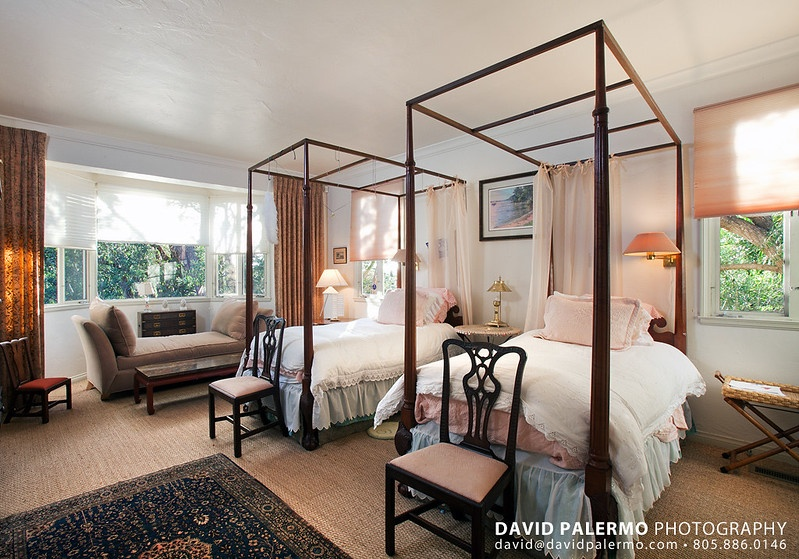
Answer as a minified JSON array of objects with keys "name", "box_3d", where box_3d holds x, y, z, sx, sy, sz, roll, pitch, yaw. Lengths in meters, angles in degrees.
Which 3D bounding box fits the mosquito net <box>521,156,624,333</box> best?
[{"name":"mosquito net","box_3d":[1.911,-0.306,5.613,0.980,1.826,0.501,7,2,42]}]

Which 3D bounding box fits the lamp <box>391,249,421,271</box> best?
[{"name":"lamp","box_3d":[0.098,-0.274,6.891,0.328,0.328,0.335,0,4,3]}]

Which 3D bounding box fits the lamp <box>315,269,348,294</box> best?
[{"name":"lamp","box_3d":[-1.065,-0.001,8.012,0.429,0.376,0.433,2,4,22]}]

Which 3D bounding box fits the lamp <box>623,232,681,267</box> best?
[{"name":"lamp","box_3d":[2.526,-0.303,5.026,0.419,0.272,0.392,3,-2,3]}]
